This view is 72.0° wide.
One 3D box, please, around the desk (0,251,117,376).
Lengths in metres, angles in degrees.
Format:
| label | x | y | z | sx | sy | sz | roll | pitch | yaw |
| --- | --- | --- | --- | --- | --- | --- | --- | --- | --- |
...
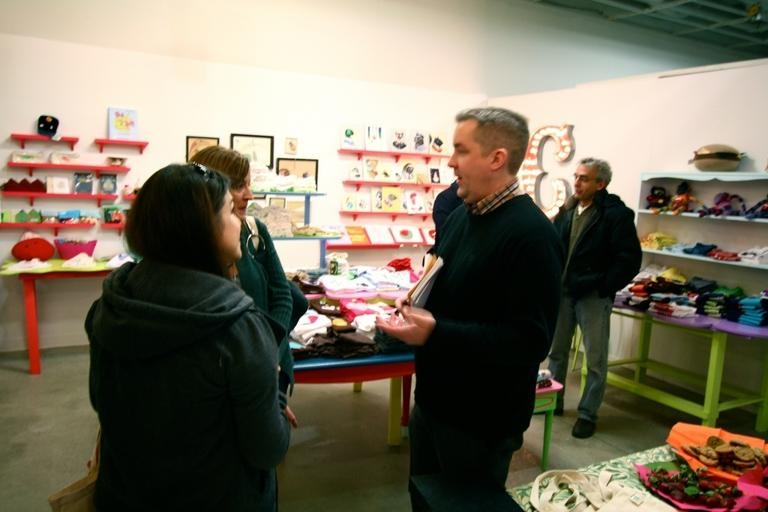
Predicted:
| label | x | y | z | sx | sy | sz | roll | pitch | yaw |
| --- | --- | --- | --- | --- | --- | --- | --- | --- | --- |
| desk | -3.924 | 0.570 | 6.627 | 1.426 | 1.010 | 1.403 | -2 | 7 | -20 |

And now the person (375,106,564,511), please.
| label | x | y | z | sx | sy | sz | roll | pitch | yaw |
| --- | --- | --- | --- | --- | --- | --- | --- | --- | --- |
| person | 0.581 | 0.315 | 3.161 | 0.873 | 2.346 | 0.658 | 6 | 12 | 18 |

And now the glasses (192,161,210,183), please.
| label | x | y | z | sx | sy | sz | roll | pitch | yaw |
| --- | --- | --- | --- | --- | --- | --- | --- | --- | --- |
| glasses | -0.904 | -0.408 | 2.575 | 0.093 | 0.039 | 0.059 | 39 | -5 | 45 |

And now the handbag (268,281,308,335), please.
| label | x | y | z | sx | sy | sz | roll | pitch | yaw |
| --- | --- | --- | --- | --- | --- | --- | --- | --- | --- |
| handbag | -0.602 | 0.347 | 3.469 | 0.298 | 0.277 | 0.115 | 13 | 10 | 32 |

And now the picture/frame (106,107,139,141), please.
| label | x | y | z | sx | sy | sz | roll | pitch | yaw |
| --- | --- | --- | --- | --- | --- | --- | --- | --- | --- |
| picture/frame | -3.344 | -1.663 | 6.688 | 0.454 | 0.527 | 0.057 | -4 | 7 | -34 |

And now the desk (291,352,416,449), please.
| label | x | y | z | sx | sy | sz | roll | pitch | yaw |
| --- | --- | --- | --- | --- | --- | --- | --- | --- | --- |
| desk | -0.152 | 0.988 | 4.385 | 1.008 | 0.655 | 1.299 | 0 | 1 | -28 |

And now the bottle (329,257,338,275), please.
| label | x | y | z | sx | sy | sz | roll | pitch | yaw |
| --- | --- | --- | --- | --- | --- | --- | --- | --- | --- |
| bottle | -0.545 | 0.128 | 5.667 | 0.145 | 0.248 | 0.140 | 0 | 0 | 0 |

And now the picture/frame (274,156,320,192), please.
| label | x | y | z | sx | sy | sz | roll | pitch | yaw |
| --- | --- | --- | --- | --- | --- | --- | --- | --- | --- |
| picture/frame | -1.196 | -1.095 | 7.054 | 0.736 | 0.582 | 0.048 | -2 | 12 | -24 |

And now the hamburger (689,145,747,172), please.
| label | x | y | z | sx | sy | sz | roll | pitch | yaw |
| --- | --- | --- | --- | --- | --- | --- | --- | --- | --- |
| hamburger | 3.640 | -1.004 | 5.730 | 0.362 | 0.203 | 0.354 | -3 | 3 | -14 |

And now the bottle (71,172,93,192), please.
| label | x | y | z | sx | sy | sz | roll | pitch | yaw |
| --- | --- | --- | --- | --- | --- | --- | --- | --- | --- |
| bottle | -3.796 | -0.915 | 6.597 | 0.238 | 0.282 | 0.040 | -9 | 3 | -30 |
